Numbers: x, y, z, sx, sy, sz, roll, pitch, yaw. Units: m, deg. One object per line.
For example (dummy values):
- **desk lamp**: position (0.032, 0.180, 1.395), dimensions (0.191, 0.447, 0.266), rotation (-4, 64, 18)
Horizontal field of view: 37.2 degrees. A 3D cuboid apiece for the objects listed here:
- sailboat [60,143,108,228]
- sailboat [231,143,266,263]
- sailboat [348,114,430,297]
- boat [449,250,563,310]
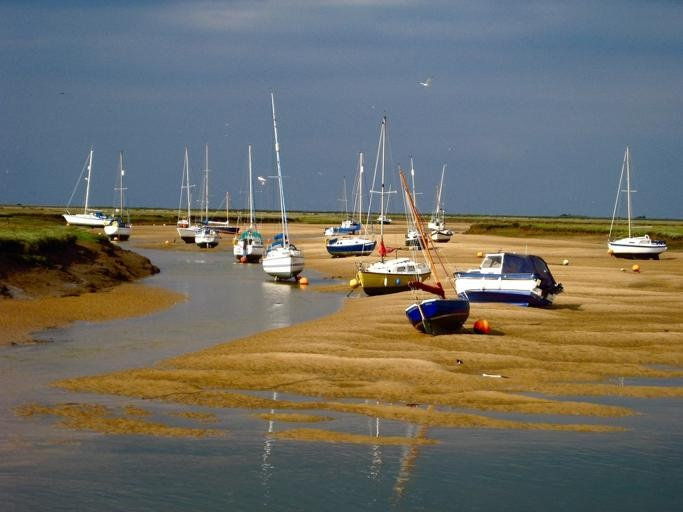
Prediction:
- **sailboat**: position (-28.093, -7.608, 111.924), dimensions (1.689, 8.305, 6.043), rotation (16, 9, 39)
- **sailboat**: position (-6.383, -3.978, 71.144), dimensions (2.069, 8.330, 6.256), rotation (1, 4, 3)
- **sailboat**: position (2.199, -2.377, 47.936), dimensions (2.928, 7.934, 5.786), rotation (6, 6, 26)
- **boat**: position (6.558, 0.868, 41.091), dimensions (4.036, 1.871, 2.277), rotation (1, 0, 27)
